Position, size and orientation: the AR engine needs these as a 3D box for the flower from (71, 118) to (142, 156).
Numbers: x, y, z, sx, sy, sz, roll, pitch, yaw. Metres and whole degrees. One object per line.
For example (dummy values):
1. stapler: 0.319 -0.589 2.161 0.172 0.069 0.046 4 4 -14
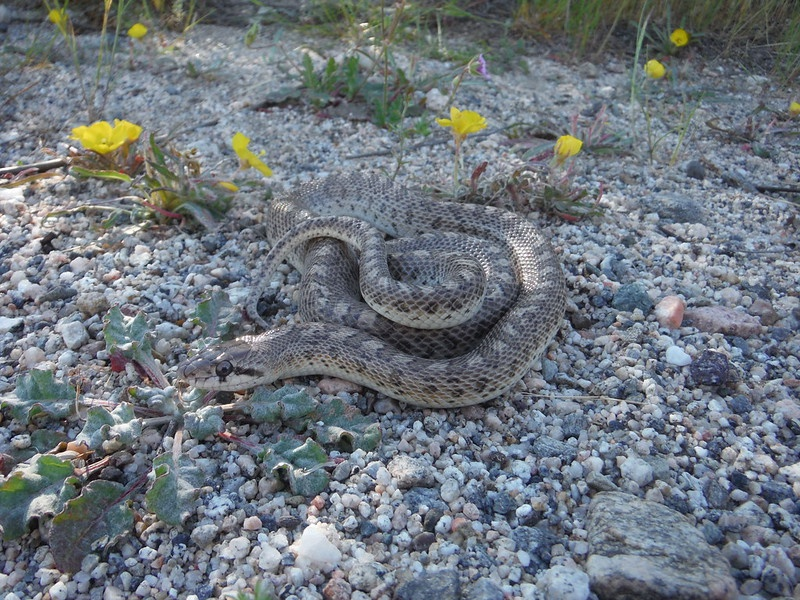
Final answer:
1. flower: -2.816 -1.560 6.749 0.572 0.422 0.252 -12 46 -16
